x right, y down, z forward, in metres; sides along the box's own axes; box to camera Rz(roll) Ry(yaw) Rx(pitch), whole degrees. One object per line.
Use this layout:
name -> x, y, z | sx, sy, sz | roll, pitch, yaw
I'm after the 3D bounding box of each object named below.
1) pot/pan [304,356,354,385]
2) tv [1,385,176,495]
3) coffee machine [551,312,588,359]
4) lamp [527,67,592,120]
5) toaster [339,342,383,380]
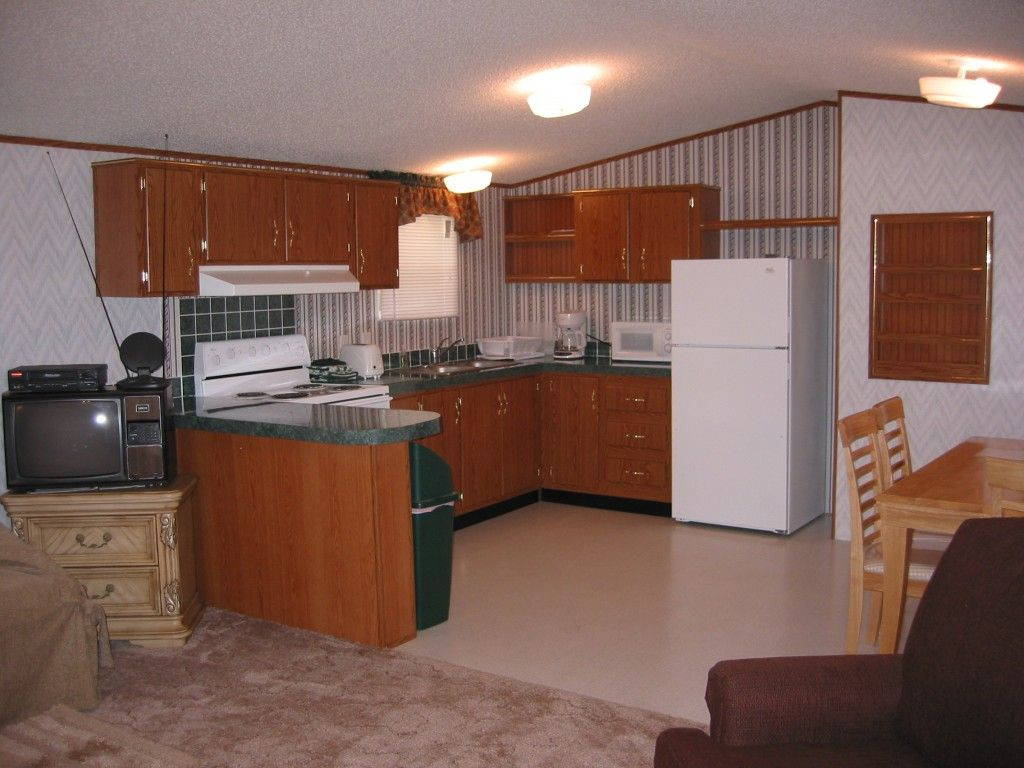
pot/pan -> -1.353, -0.091, 5.912 | 0.299, 0.105, 0.180 | 4, 5, 37
tv -> -2.285, 0.291, 4.301 | 0.924, 0.639, 0.515 | 0, 1, -4
coffee machine -> 0.531, -0.443, 7.251 | 0.428, 0.488, 0.344 | -1, 2, -42
lamp -> 0.285, -1.730, 4.690 | 0.317, 0.111, 0.317 | -2, 2, 19
toaster -> -1.136, -0.172, 6.119 | 0.308, 0.272, 0.220 | 4, 8, 30
